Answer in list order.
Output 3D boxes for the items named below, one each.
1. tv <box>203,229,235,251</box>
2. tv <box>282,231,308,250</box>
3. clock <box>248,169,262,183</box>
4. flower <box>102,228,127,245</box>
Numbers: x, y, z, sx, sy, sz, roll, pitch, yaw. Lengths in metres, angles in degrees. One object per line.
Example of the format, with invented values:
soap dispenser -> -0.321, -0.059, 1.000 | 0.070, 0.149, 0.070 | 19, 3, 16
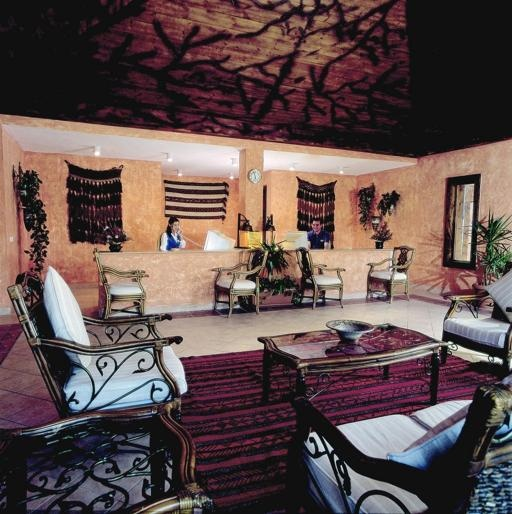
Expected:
tv -> -0.597, -0.256, 6.628 | 0.456, 0.248, 0.391 | -1, -2, -9
tv -> 0.672, -0.275, 6.829 | 0.417, 0.305, 0.353 | 2, 9, 20
clock -> -0.031, -1.306, 6.746 | 0.225, 0.234, 0.050 | -7, 11, -39
flower -> -1.931, -0.283, 5.667 | 0.333, 0.153, 0.283 | 2, 6, 9
